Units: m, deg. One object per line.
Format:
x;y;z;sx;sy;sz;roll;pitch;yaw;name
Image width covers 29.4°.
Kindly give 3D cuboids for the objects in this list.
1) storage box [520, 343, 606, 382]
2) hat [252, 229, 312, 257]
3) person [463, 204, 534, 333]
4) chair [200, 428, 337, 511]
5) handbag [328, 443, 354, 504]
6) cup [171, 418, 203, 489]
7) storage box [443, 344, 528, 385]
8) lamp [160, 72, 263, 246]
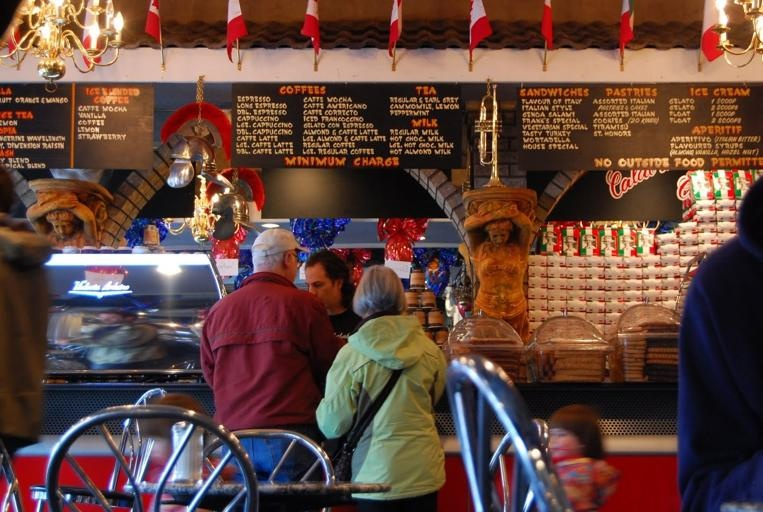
1.122;0.741;9.530;0.636;0.225;0.649;1;-17;1;storage box
-0.653;-0.091;9.109;0.242;0.128;0.168;-4;2;-26;hat
0.869;0.101;10.928;0.486;0.852;0.300;1;0;6;person
-0.620;1.091;8.480;0.703;0.744;0.561;0;0;19;chair
-0.237;1.213;8.738;0.147;0.226;0.248;-2;-6;1;handbag
-1.051;1.072;7.961;0.226;0.348;0.219;2;1;0;cup
0.739;0.653;9.242;0.476;0.225;0.345;0;-8;-3;storage box
-1.329;-0.740;11.374;0.731;1.122;2.771;2;-1;-8;lamp
